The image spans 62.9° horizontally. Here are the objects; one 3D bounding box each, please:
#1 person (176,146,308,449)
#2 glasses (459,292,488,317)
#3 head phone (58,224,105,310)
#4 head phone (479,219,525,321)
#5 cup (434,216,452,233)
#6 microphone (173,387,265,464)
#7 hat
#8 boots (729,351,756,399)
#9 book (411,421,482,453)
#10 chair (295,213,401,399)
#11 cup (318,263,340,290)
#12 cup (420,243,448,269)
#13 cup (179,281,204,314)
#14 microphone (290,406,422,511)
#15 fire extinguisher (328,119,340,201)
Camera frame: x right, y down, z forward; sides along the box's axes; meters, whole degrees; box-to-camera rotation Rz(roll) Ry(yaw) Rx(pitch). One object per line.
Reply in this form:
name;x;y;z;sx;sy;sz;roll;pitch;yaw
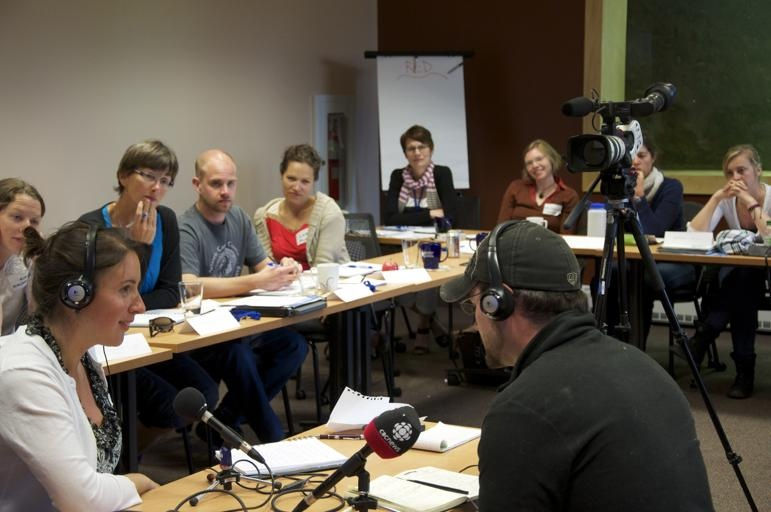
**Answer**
person;-0.868;0.288;3.690;0.731;1.812;0.702;8;13;37
glasses;0.240;0.134;1.718;0.071;0.027;0.078;3;-1;15
head phone;-0.936;0.029;1.899;0.084;0.255;0.234;11;-5;-36
head phone;0.299;0.036;1.619;0.080;0.242;0.242;1;-1;23
cup;0.438;-0.230;4.855;0.114;0.130;0.097;0;5;8
microphone;-0.457;0.467;1.728;0.305;0.094;0.091;39;11;-5
hat;0.358;0.024;1.683;0.293;0.251;0.398;6;0;-30
boots;2.463;0.812;4.359;0.134;0.282;0.350;-5;6;45
book;0.196;0.588;2.056;0.126;0.027;0.138;3;10;35
chair;0.001;0.297;4.604;0.738;1.145;0.774;2;7;13
cup;-0.313;0.114;3.490;0.116;0.138;0.119;-1;5;0
cup;0.299;-0.008;4.024;0.163;0.186;0.114;-1;-2;-16
cup;-0.893;0.188;2.890;0.117;0.150;0.121;-2;-5;0
microphone;-0.071;0.497;1.509;0.318;0.255;0.100;-6;13;-11
fire extinguisher;-0.623;-1.045;7.463;0.194;1.004;0.211;0;2;11
